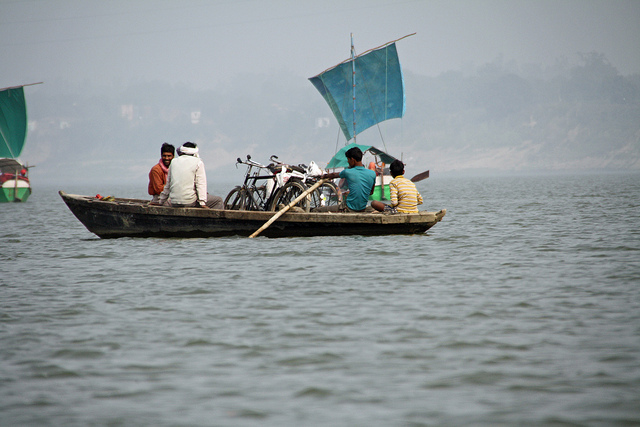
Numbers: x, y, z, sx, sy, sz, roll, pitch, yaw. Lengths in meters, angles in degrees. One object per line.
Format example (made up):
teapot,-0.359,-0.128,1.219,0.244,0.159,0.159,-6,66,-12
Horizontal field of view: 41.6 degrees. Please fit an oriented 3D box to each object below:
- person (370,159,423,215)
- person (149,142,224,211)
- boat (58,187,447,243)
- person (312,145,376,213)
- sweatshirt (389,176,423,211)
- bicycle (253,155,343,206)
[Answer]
person,1.895,-0.629,20.242,1.167,1.270,0.754,3,7,3
person,-3.158,-0.725,19.214,1.584,1.378,0.901,10,37,-1
boat,-1.581,0.080,20.818,11.087,1.247,1.771,1,0,0
person,0.896,-0.799,20.357,0.861,1.588,1.005,4,7,1
sweatshirt,2.071,-0.491,20.343,0.772,0.829,0.470,4,7,4
bicycle,-0.709,-0.752,21.285,2.758,1.298,1.146,0,1,9
